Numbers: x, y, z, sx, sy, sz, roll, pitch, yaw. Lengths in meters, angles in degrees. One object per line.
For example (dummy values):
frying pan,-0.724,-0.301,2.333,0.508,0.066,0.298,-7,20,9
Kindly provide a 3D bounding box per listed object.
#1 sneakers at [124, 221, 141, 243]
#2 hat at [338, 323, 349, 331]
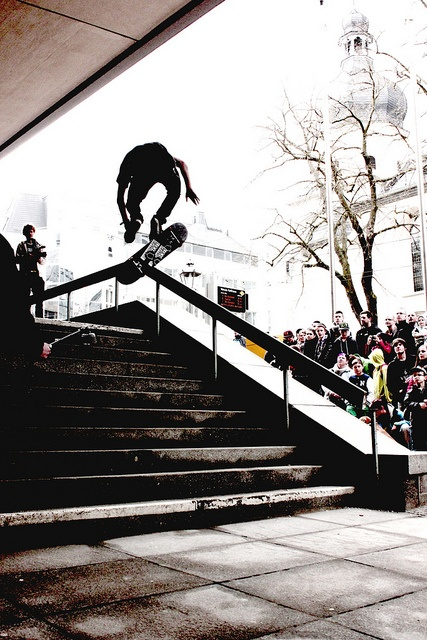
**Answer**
sneakers,-0.940,-0.999,8.270,0.151,0.272,0.066,23,32,-4
hat,1.961,0.102,10.834,0.140,0.120,0.195,2,-2,10
